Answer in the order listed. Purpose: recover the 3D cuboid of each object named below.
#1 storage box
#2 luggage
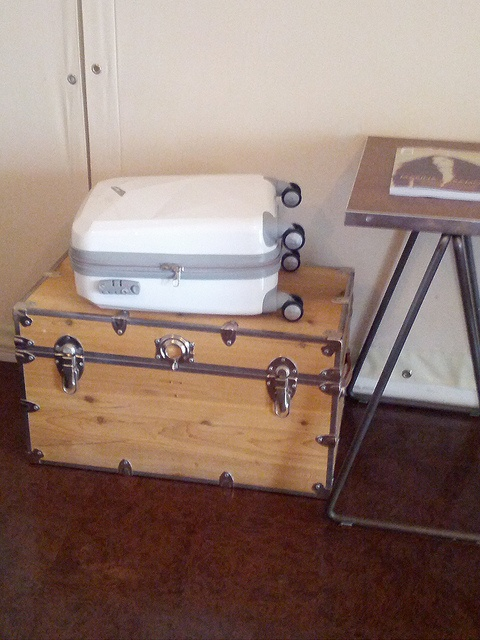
[{"bbox_3d":[-0.128,0.122,1.641,0.796,0.465,0.525,6,24,9],"label":"storage box"},{"bbox_3d":[-0.115,-0.153,1.419,0.469,0.227,0.325,2,31,3],"label":"luggage"}]
